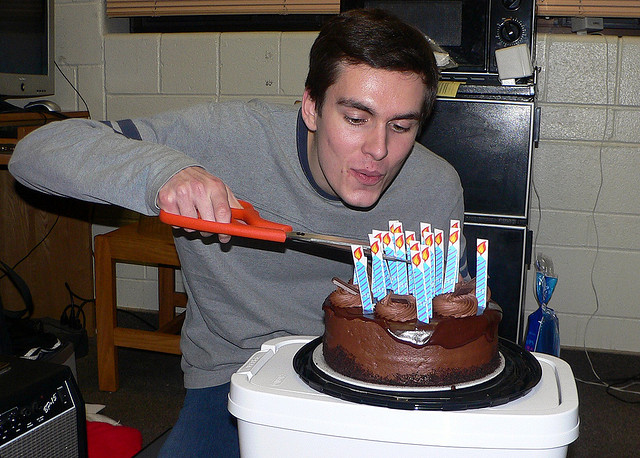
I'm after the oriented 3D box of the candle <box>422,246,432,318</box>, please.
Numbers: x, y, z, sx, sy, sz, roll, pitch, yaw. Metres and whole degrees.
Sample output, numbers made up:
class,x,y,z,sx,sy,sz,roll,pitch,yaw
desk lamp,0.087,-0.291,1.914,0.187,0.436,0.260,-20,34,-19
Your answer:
class,x,y,z,sx,sy,sz,roll,pitch,yaw
candle,0.232,0.116,1.224,0.020,0.156,0.007,-1,-5,-22

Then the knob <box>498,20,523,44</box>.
class,x,y,z,sx,sy,sz,roll,pitch,yaw
knob,0.856,-0.883,2.504,0.096,0.103,0.031,-8,-1,4

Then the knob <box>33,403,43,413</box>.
class,x,y,z,sx,sy,sz,roll,pitch,yaw
knob,-0.654,0.413,1.282,0.025,0.027,0.008,-2,0,-30

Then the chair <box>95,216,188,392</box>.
class,x,y,z,sx,sy,sz,roll,pitch,yaw
chair,-0.867,0.369,2.676,0.483,0.557,0.716,3,10,3

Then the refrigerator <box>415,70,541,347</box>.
class,x,y,z,sx,sy,sz,roll,pitch,yaw
refrigerator,0.921,-0.007,2.798,0.482,0.858,0.411,-6,10,-43

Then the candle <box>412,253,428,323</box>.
class,x,y,z,sx,sy,sz,roll,pitch,yaw
candle,0.219,0.128,1.219,0.031,0.150,0.023,-1,13,4

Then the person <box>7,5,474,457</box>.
class,x,y,z,sx,sy,sz,roll,pitch,yaw
person,-0.136,-0.015,1.644,1.231,1.193,0.619,-11,16,-31

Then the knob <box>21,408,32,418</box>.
class,x,y,z,sx,sy,sz,roll,pitch,yaw
knob,-0.671,0.418,1.267,0.018,0.020,0.018,-2,-9,-4

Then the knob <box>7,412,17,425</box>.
class,x,y,z,sx,sy,sz,roll,pitch,yaw
knob,-0.691,0.425,1.244,0.017,0.024,0.008,9,-6,-13
